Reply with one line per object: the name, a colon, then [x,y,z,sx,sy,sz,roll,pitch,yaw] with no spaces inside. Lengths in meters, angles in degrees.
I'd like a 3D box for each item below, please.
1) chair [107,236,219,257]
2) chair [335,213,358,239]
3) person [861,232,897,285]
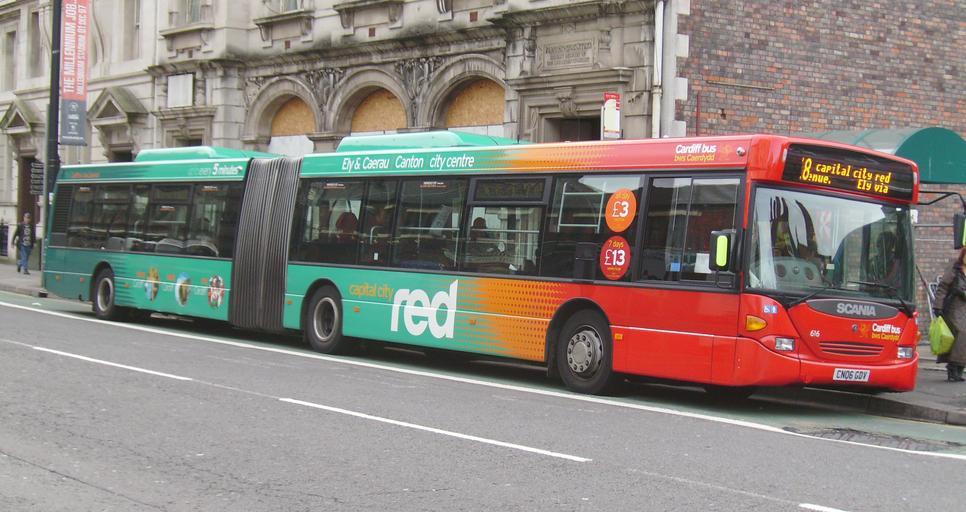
chair: [-8.526,-0.195,21.895,3.745,0.483,0.370,6,11,31]
chair: [-3.061,-0.665,18.642,0.552,0.688,0.398,6,8,40]
person: [7.119,0.062,14.708,0.734,0.957,0.270,1,-8,-5]
